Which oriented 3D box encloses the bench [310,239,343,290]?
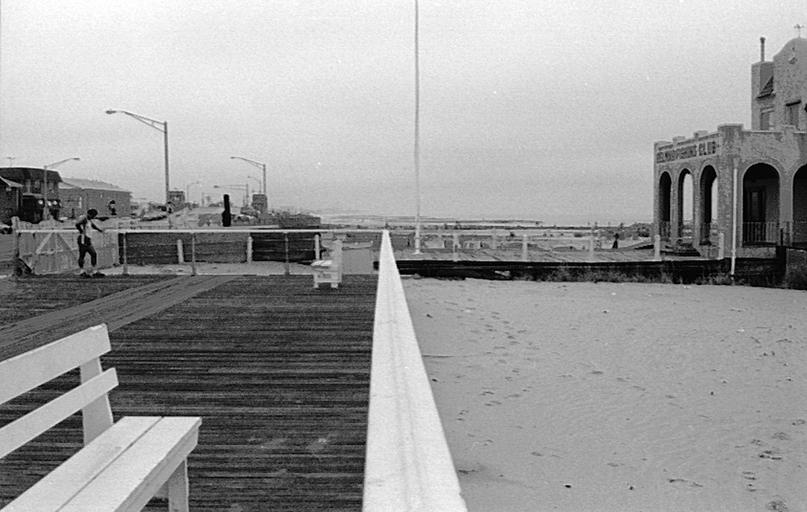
[{"bbox_3d":[-2.022,0.142,22.381,0.993,1.341,1.419,0,5,0],"label":"bench"}]
